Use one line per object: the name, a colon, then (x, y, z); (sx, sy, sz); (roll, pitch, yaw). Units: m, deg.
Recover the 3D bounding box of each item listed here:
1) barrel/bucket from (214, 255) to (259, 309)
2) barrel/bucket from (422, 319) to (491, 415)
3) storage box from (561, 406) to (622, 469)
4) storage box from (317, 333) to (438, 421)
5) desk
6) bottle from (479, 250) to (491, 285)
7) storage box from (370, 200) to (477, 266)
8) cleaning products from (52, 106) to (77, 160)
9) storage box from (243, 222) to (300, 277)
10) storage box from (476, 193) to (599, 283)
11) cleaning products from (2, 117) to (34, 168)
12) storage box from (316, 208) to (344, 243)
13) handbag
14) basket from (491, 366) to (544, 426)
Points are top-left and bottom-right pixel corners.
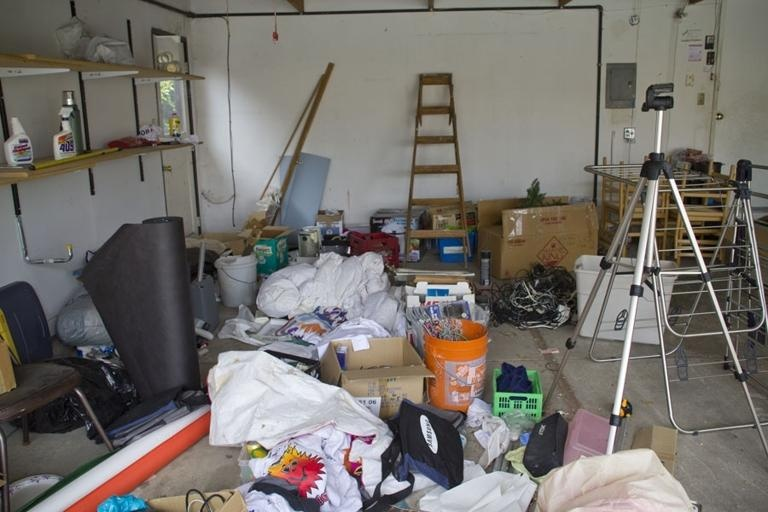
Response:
barrel/bucket: (-1.376, 0.216, 5.373); (0.450, 0.485, 0.481); (0, 7, 0)
barrel/bucket: (0.479, 0.715, 3.880); (0.530, 0.576, 0.527); (-1, 9, 0)
storage box: (1.272, 1.146, 3.450); (0.276, 0.274, 0.279); (16, 47, 4)
storage box: (-0.037, 0.829, 3.777); (0.525, 0.378, 0.660); (-10, 28, -22)
desk: (3.260, -0.492, 6.246); (1.060, 0.731, 0.578); (6, 17, 29)
bottle: (1.035, 0.111, 5.734); (0.109, 0.348, 0.195); (2, 12, 7)
storage box: (0.495, -0.309, 6.854); (1.248, 0.647, 0.613); (4, 12, 17)
cleaning products: (-2.328, -0.890, 4.022); (0.124, 0.377, 0.308); (-4, 12, -19)
storage box: (-1.236, -0.075, 5.986); (0.508, 0.544, 0.408); (11, 27, 19)
storage box: (1.647, -0.210, 6.259); (1.083, 0.680, 1.076); (-1, 7, 1)
cleaning products: (-2.451, -0.763, 3.708); (0.152, 0.323, 0.423); (-7, 13, -32)
storage box: (-0.652, -0.375, 6.806); (0.378, 0.365, 0.373); (0, 5, 1)
handbag: (0.241, 1.130, 3.379); (0.421, 0.363, 0.470); (0, 11, -3)
basket: (0.901, 0.970, 3.783); (0.253, 0.226, 0.374); (0, 0, 5)
